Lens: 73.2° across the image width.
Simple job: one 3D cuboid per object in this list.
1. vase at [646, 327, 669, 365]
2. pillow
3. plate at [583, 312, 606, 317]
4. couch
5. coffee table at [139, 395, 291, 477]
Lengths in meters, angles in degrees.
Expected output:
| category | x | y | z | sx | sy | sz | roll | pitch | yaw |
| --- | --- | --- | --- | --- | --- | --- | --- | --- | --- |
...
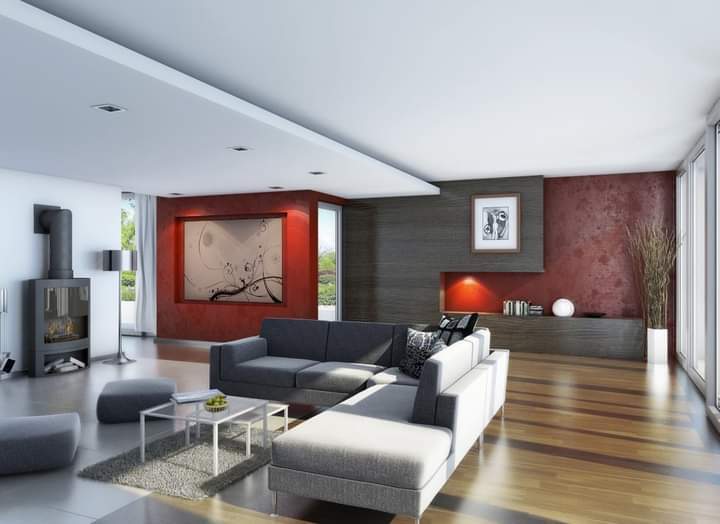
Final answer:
| category | x | y | z | sx | sy | sz | roll | pitch | yaw |
| --- | --- | --- | --- | --- | --- | --- | --- | --- | --- |
| vase | 4.713 | 1.319 | 7.641 | 0.286 | 0.557 | 0.285 | 2 | 4 | 22 |
| pillow | 0.895 | 0.922 | 5.002 | 0.223 | 0.679 | 0.727 | 30 | -17 | -18 |
| plate | 4.125 | 0.926 | 8.432 | 0.363 | 0.088 | 0.331 | 1 | 3 | 13 |
| couch | 0.282 | 1.220 | 4.051 | 1.863 | 0.620 | 1.844 | 0 | -4 | 28 |
| coffee table | -1.229 | 1.391 | 4.382 | 0.741 | 0.384 | 0.829 | 2 | 1 | 28 |
